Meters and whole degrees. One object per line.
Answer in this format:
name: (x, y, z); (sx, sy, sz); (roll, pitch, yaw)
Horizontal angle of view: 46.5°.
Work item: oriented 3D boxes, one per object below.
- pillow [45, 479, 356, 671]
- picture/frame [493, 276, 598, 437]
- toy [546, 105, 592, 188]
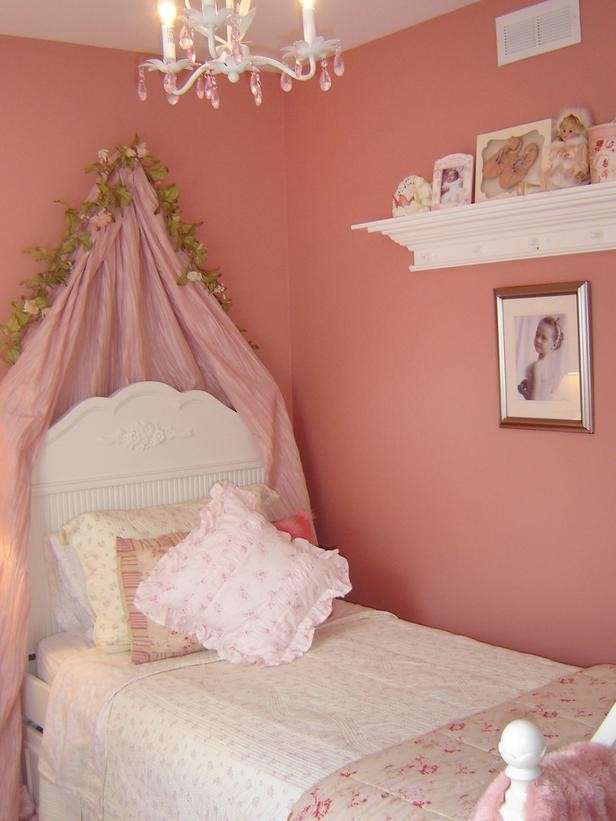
pillow: (-0.459, 0.544, 2.243); (0.634, 0.174, 0.568); (-9, 38, -22)
picture/frame: (0.761, -0.171, 2.305); (0.095, 0.378, 0.371); (-3, -3, -26)
toy: (0.767, -0.779, 2.131); (0.095, 0.198, 0.145); (-3, -3, -25)
